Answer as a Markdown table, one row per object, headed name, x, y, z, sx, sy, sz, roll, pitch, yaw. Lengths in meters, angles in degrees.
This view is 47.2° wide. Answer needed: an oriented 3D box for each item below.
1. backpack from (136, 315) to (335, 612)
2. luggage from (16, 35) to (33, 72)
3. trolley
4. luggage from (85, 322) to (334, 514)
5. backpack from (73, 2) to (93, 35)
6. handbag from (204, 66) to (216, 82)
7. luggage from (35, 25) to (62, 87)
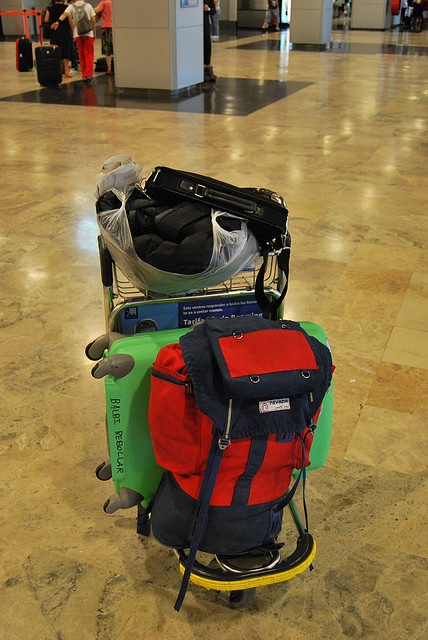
| name | x | y | z | sx | sy | sz | roll | pitch | yaw |
| --- | --- | --- | --- | --- | --- | --- | --- | --- | --- |
| backpack | 0.060 | 0.290 | 1.087 | 0.396 | 0.591 | 0.268 | -8 | 24 | -19 |
| luggage | -4.877 | -6.780 | 12.582 | 0.381 | 0.770 | 0.679 | -9 | 24 | -21 |
| trolley | -0.025 | 0.207 | 1.400 | 0.639 | 0.875 | 0.864 | -6 | 8 | -19 |
| luggage | -0.010 | 0.212 | 1.063 | 0.590 | 0.494 | 0.210 | -2 | 11 | -7 |
| backpack | -2.950 | -6.676 | 10.932 | 0.327 | 0.575 | 0.226 | 0 | 23 | -1 |
| handbag | -0.095 | -5.725 | 11.355 | 0.162 | 0.342 | 0.504 | 7 | 57 | 3 |
| luggage | -3.667 | -5.579 | 11.021 | 0.612 | 0.894 | 0.564 | -5 | 0 | -26 |
